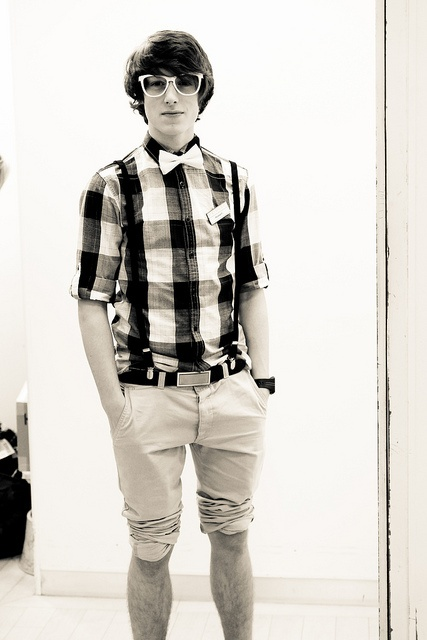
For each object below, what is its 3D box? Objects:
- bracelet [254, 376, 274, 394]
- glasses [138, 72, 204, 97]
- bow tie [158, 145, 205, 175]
[{"bbox_3d":[0.123,0.160,1.662,0.044,0.031,0.033,-8,6,-14],"label":"bracelet"},{"bbox_3d":[-0.096,-0.547,1.622,0.168,0.055,0.119,-1,12,-10],"label":"glasses"},{"bbox_3d":[-0.077,-0.373,1.609,0.132,0.063,0.087,-2,10,-5],"label":"bow tie"}]
